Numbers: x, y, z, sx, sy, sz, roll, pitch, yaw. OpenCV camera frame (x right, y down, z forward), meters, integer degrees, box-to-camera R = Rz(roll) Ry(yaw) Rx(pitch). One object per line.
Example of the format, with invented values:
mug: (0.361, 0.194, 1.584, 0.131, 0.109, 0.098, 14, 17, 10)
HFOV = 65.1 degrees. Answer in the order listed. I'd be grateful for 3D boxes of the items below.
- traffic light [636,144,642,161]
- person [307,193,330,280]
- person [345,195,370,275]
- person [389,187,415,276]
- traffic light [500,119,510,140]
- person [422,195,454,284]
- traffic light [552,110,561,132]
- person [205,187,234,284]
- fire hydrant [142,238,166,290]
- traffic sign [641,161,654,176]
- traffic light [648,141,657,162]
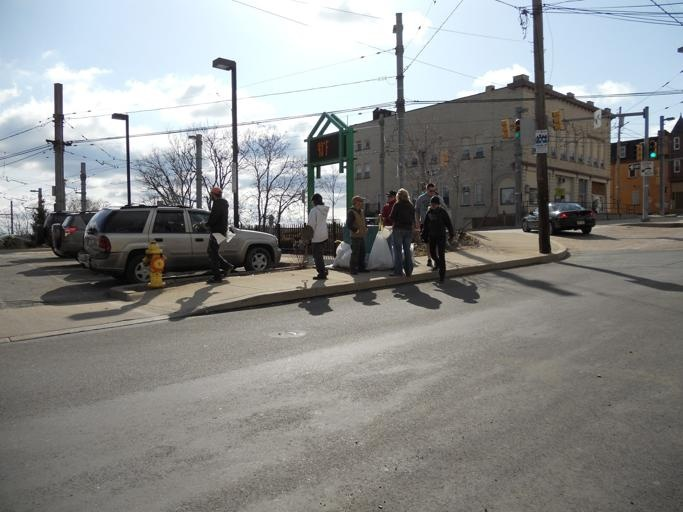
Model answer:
traffic light: (18.772, -6.419, 33.252, 0.325, 0.946, 1.234, 3, 8, 30)
person: (-0.526, -0.429, 12.200, 0.453, 1.917, 0.844, -1, 7, -3)
person: (0.376, -0.515, 13.253, 0.483, 1.872, 1.150, 0, 7, 2)
person: (1.466, -0.494, 12.421, 0.537, 1.987, 0.442, -3, 7, -18)
traffic light: (8.287, -6.322, 26.677, 0.269, 0.951, 1.675, 2, 8, 21)
person: (2.323, -0.413, 12.814, 0.711, 1.985, 1.520, 1, 7, 8)
traffic light: (8.775, -5.419, 21.465, 0.276, 0.728, 0.903, 3, 8, 27)
person: (-2.814, -0.465, 12.160, 0.473, 2.103, 0.795, -1, 7, -4)
fire hydrant: (-4.154, 0.176, 11.779, 0.414, 0.980, 1.040, -3, 8, -21)
traffic sign: (19.264, -5.430, 33.349, 0.868, 1.087, 0.142, 3, 7, 25)
traffic light: (18.779, -6.325, 31.957, 0.364, 1.144, 1.775, 3, 8, 28)
